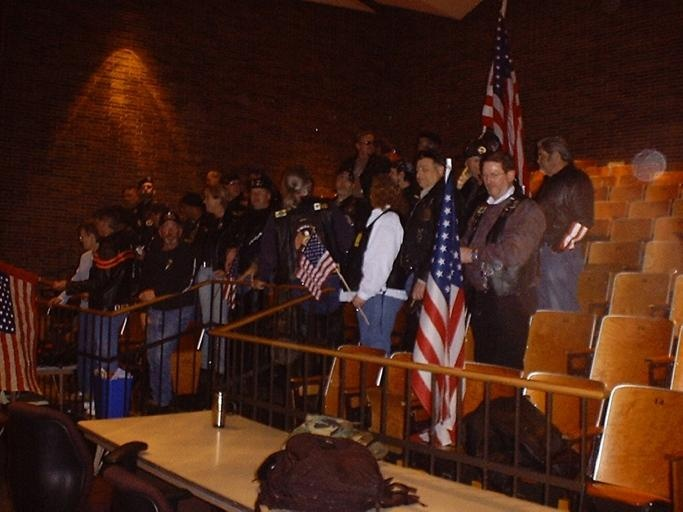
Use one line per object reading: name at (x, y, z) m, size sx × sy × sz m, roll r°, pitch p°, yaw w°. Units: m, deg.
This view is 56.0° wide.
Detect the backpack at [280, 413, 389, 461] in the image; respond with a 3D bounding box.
backpack at (-0.005, 1.038, 3.845) m, size 0.382 × 0.121 × 0.328 m, roll 16°, pitch -5°, yaw 24°

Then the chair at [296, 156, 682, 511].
chair at (1.065, 0.591, 5.093) m, size 1.200 × 3.693 × 1.381 m, roll 35°, pitch -44°, yaw -31°
